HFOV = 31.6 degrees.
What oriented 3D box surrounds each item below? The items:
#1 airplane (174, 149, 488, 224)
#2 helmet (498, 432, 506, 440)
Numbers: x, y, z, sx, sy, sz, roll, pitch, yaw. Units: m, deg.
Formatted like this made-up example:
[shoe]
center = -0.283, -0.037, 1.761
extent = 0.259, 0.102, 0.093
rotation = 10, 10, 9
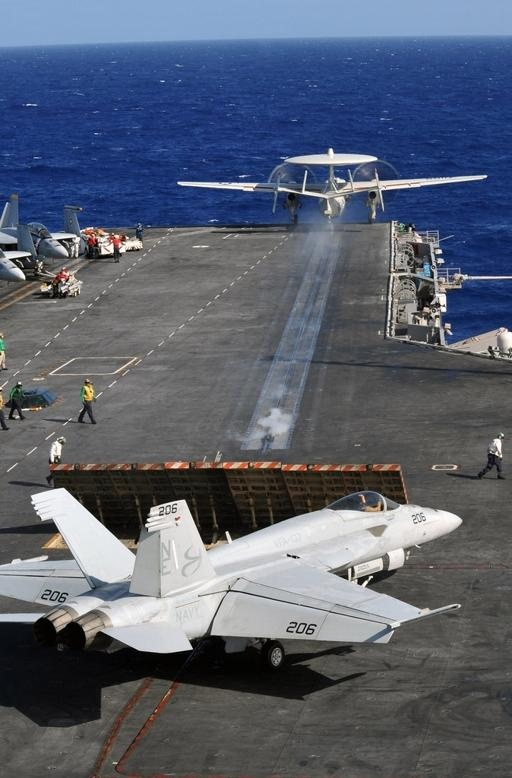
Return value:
[airplane]
center = 7.598, -18.633, 84.126
extent = 22.353, 4.270, 16.979
rotation = -4, 3, -16
[helmet]
center = 8.947, 1.735, 33.049
extent = 0.353, 0.145, 0.401
rotation = 10, 16, -1
